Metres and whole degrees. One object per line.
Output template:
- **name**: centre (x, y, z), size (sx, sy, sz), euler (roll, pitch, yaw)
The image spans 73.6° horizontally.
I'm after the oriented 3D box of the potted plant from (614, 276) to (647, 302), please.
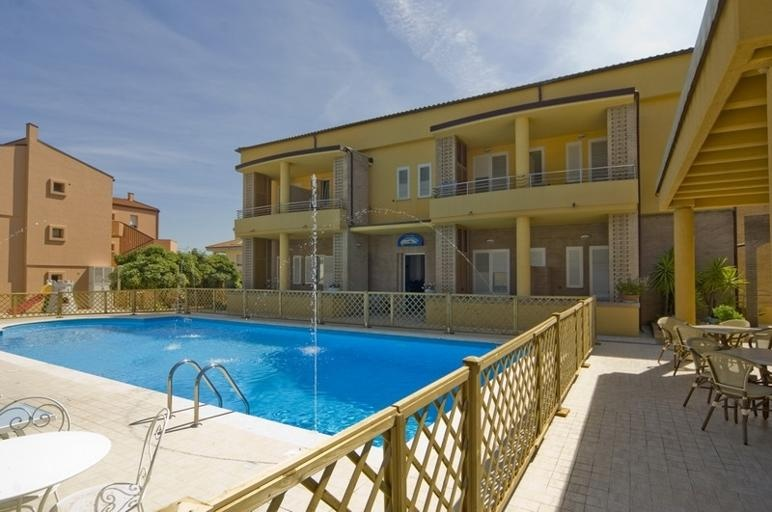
- **potted plant**: centre (8.768, 1.200, 18.587), size (0.922, 0.794, 0.843), euler (3, -11, -4)
